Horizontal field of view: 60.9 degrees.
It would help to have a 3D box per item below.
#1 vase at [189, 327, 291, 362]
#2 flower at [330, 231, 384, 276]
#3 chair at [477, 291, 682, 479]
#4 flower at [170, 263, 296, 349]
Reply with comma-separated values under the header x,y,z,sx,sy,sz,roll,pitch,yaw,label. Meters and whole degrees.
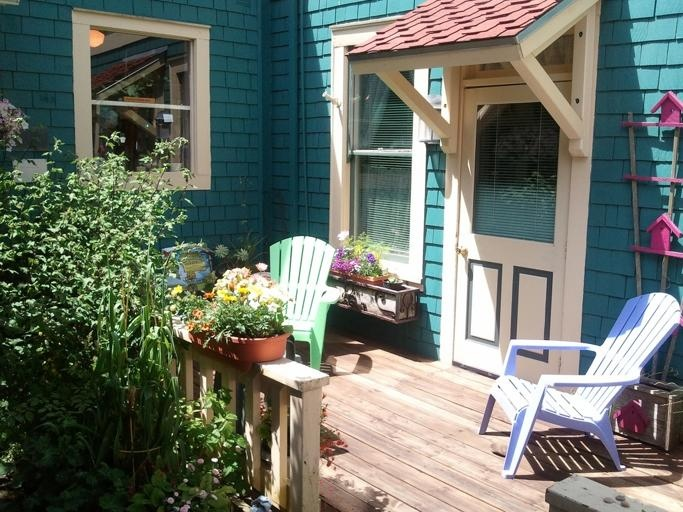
x,y,z,sx,sy,sz,roll,pitch,yaw,label
-0.548,0.477,3.078,0.397,0.101,0.223,2,3,44,vase
0.146,0.016,5.602,0.381,0.264,0.466,6,35,6,flower
1.452,0.803,4.031,1.156,1.124,0.973,-1,7,-5,chair
-0.615,0.261,3.155,0.408,0.267,0.561,-4,7,-37,flower
